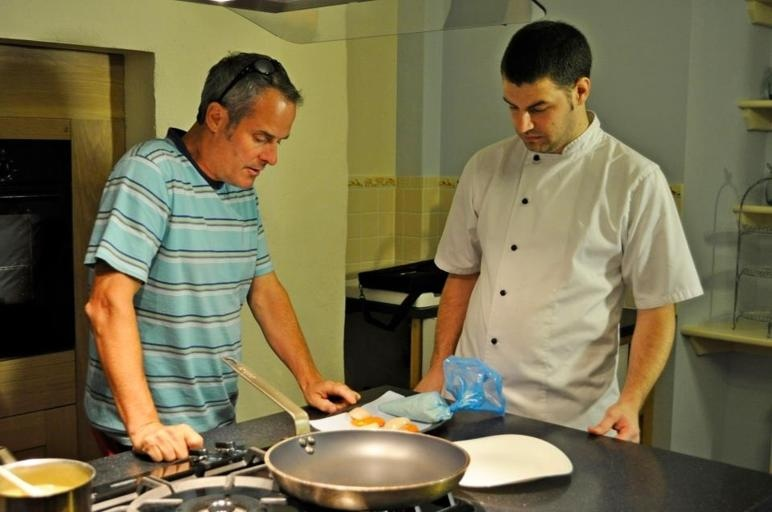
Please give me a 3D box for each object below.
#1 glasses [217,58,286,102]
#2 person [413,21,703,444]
[{"bbox_3d":[-0.384,-0.482,1.947,0.146,0.041,0.128,-39,8,18],"label":"glasses"},{"bbox_3d":[0.519,-0.085,2.126,0.813,1.249,0.354,4,8,38],"label":"person"}]
